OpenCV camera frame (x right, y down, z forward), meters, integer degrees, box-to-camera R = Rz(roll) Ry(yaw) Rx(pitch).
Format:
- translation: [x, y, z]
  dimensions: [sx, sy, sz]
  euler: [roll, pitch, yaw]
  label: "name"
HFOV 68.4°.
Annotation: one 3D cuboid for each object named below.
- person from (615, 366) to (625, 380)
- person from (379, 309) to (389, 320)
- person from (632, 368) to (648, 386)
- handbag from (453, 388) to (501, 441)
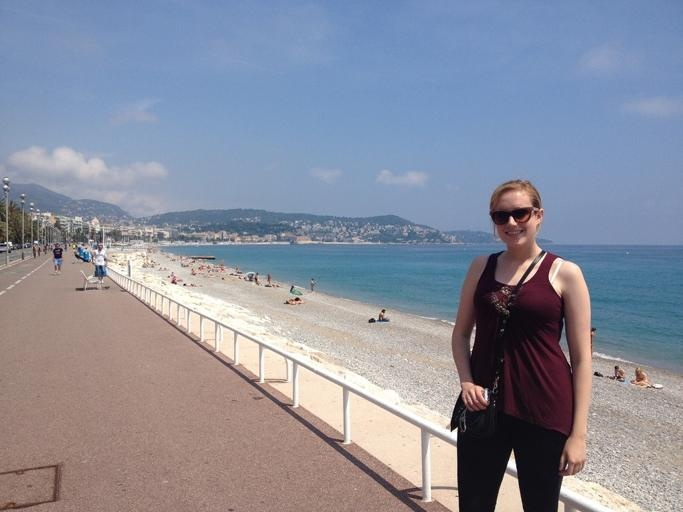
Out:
- translation: [9.805, 4.168, 17.754]
  dimensions: [0.338, 0.457, 0.901]
  euler: [2, 4, 28]
  label: "person"
- translation: [2.723, 3.746, 32.299]
  dimensions: [0.636, 1.077, 0.465]
  euler: [-10, 16, -31]
  label: "person"
- translation: [10.213, 4.151, 17.198]
  dimensions: [0.534, 0.498, 0.846]
  euler: [2, 4, 31]
  label: "person"
- translation: [0.893, 1.018, 3.369]
  dimensions: [0.274, 0.351, 0.153]
  euler: [2, -6, 23]
  label: "handbag"
